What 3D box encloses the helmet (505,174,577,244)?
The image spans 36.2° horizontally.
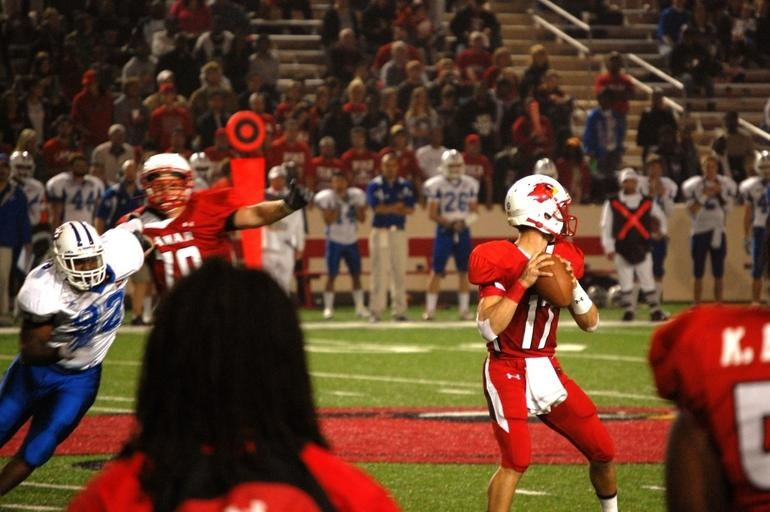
[{"bbox_3d":[1.075,-0.348,8.085,0.483,0.430,0.375,-1,6,0],"label":"helmet"}]

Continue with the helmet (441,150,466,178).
[{"bbox_3d":[0.819,-1.129,14.254,0.245,0.285,0.341,0,4,-7],"label":"helmet"}]

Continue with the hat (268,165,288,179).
[{"bbox_3d":[-1.243,-0.971,13.543,0.182,0.138,0.181,1,-6,-19],"label":"hat"}]

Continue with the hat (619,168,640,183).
[{"bbox_3d":[2.826,-0.939,13.688,0.179,0.198,0.240,-1,-4,0],"label":"hat"}]

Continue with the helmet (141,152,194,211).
[{"bbox_3d":[-1.592,-0.536,8.571,0.336,0.404,0.409,-3,-3,-5],"label":"helmet"}]

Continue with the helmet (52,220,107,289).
[{"bbox_3d":[-2.156,-0.043,8.222,0.340,0.366,0.440,-10,41,-40],"label":"helmet"}]

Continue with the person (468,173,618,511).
[{"bbox_3d":[1.028,0.585,7.873,0.945,2.266,0.666,-1,2,-5],"label":"person"}]

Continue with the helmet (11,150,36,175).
[{"bbox_3d":[-4.174,-1.064,13.551,0.216,0.268,0.290,-1,6,-31],"label":"helmet"}]
